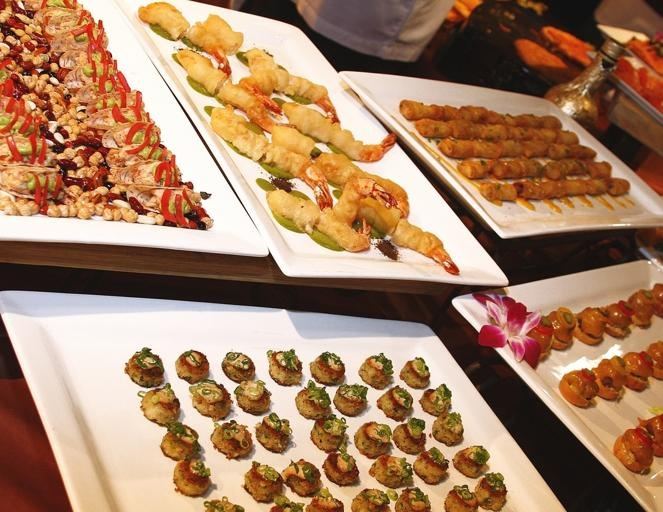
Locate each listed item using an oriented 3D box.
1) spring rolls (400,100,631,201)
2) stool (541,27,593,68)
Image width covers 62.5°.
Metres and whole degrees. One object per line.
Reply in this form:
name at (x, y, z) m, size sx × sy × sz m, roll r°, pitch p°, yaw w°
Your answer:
spring rolls at (1.216, -0.692, 3.609) m, size 1.070 × 0.118 × 1.008 m, roll 15°, pitch 34°, yaw -10°
stool at (1.855, -1.687, 4.341) m, size 0.422 × 0.338 × 0.323 m, roll -21°, pitch 34°, yaw -38°
